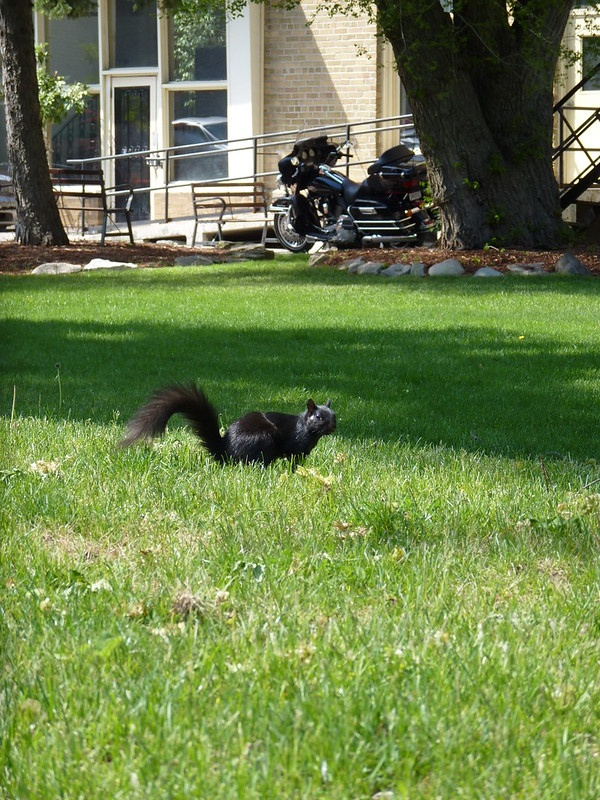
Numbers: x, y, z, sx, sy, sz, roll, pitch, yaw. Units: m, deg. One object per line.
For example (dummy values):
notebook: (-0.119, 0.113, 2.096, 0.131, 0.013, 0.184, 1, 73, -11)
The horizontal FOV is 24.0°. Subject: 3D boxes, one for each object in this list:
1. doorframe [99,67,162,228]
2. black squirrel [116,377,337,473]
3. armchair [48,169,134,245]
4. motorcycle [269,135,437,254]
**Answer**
doorframe: (-2.831, -4.331, 24.276, 0.851, 3.264, 0.255, -1, -19, -5)
black squirrel: (-0.243, 0.078, 4.445, 0.808, 0.330, 0.303, -9, 12, -41)
armchair: (-3.227, -2.881, 20.723, 0.606, 1.284, 1.725, -4, 3, 36)
motorcycle: (0.650, -2.348, 16.457, 0.981, 1.489, 2.007, -13, 20, -36)
